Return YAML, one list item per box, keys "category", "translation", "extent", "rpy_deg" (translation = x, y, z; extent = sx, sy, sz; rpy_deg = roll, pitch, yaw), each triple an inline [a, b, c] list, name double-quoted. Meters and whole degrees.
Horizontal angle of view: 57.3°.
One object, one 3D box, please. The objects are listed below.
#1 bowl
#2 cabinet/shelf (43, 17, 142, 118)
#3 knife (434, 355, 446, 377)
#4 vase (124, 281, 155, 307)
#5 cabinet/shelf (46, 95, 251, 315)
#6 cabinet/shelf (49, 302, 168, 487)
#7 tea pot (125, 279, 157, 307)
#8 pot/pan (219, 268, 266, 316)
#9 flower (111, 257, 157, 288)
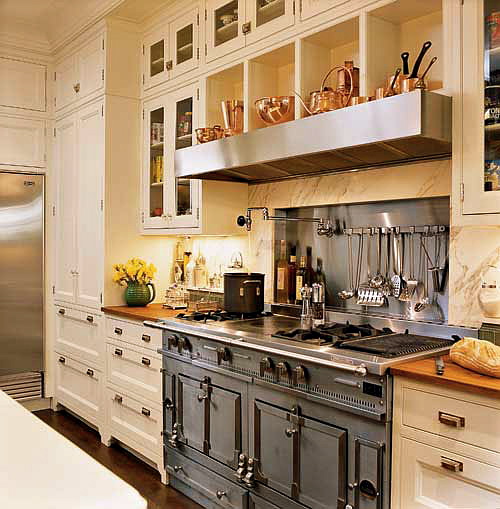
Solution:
- category: "bowl"
  translation: [-0.024, -0.760, 2.569]
  extent: [0.557, 0.222, 0.262]
  rpy_deg: [-10, -6, 26]
- category: "cabinet/shelf"
  translation: [-1.308, -1.252, 3.754]
  extent: [0.534, 0.749, 1.340]
  rpy_deg: [3, -3, -36]
- category: "knife"
  translation: [0.661, 0.387, 1.602]
  extent: [0.027, 0.025, 0.190]
  rpy_deg: [-1, 3, 13]
- category: "vase"
  translation: [-0.815, 0.294, 3.456]
  extent: [0.224, 0.161, 0.169]
  rpy_deg: [6, -8, -38]
- category: "cabinet/shelf"
  translation: [-0.832, -0.404, 3.746]
  extent: [1.865, 1.714, 0.680]
  rpy_deg: [-3, -5, 34]
- category: "cabinet/shelf"
  translation: [-0.860, 0.862, 2.927]
  extent: [0.343, 0.641, 1.164]
  rpy_deg: [3, -3, -34]
- category: "tea pot"
  translation: [-0.820, 0.289, 3.461]
  extent: [0.230, 0.177, 0.172]
  rpy_deg: [3, -7, -19]
- category: "pot/pan"
  translation: [-0.038, 0.225, 2.788]
  extent: [0.247, 0.234, 0.277]
  rpy_deg: [-3, 6, -33]
- category: "flower"
  translation: [-0.878, 0.145, 3.437]
  extent: [0.242, 0.160, 0.236]
  rpy_deg: [5, -11, -25]
